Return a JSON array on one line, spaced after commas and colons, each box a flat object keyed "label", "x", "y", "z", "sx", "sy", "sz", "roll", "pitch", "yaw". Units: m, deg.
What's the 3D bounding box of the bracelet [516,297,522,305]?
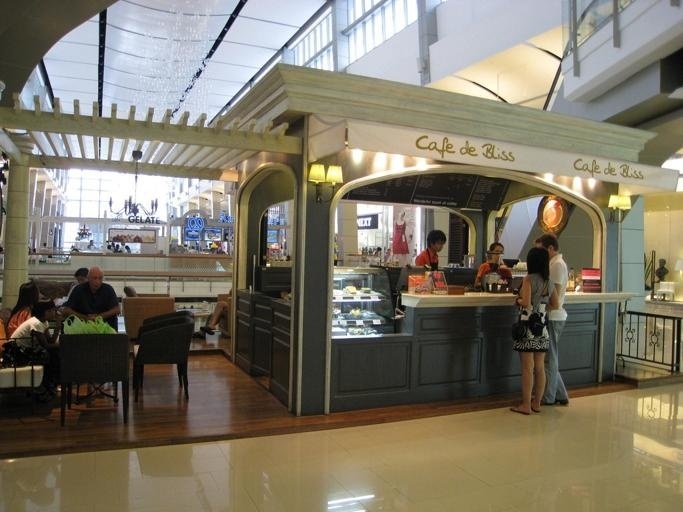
[{"label": "bracelet", "x": 2.230, "y": 0.564, "z": 6.734, "sx": 0.124, "sy": 0.065, "sz": 0.177, "roll": 3, "pitch": 5, "yaw": 10}]

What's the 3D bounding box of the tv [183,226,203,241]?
[{"label": "tv", "x": -5.023, "y": -0.798, "z": 18.194, "sx": 0.679, "sy": 0.507, "sz": 0.457, "roll": 0, "pitch": 6, "yaw": -19}]

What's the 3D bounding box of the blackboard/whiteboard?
[{"label": "blackboard/whiteboard", "x": 1.773, "y": -1.230, "z": 10.125, "sx": 3.214, "sy": 0.695, "sz": 0.359, "roll": -2, "pitch": 9, "yaw": -21}]

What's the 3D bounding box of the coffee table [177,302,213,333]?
[{"label": "coffee table", "x": -2.502, "y": 1.056, "z": 9.176, "sx": 0.479, "sy": 0.360, "sz": 0.698, "roll": -1, "pitch": 5, "yaw": -8}]

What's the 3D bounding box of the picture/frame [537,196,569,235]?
[{"label": "picture/frame", "x": 3.828, "y": -0.778, "z": 9.727, "sx": 0.244, "sy": 0.664, "sz": 0.763, "roll": 0, "pitch": 9, "yaw": -9}]

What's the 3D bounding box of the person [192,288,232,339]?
[{"label": "person", "x": -2.340, "y": 1.134, "z": 10.153, "sx": 0.753, "sy": 0.852, "sz": 0.832, "roll": 3, "pitch": 9, "yaw": 8}]

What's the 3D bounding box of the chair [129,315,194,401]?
[{"label": "chair", "x": -2.353, "y": 1.357, "z": 7.302, "sx": 0.894, "sy": 1.380, "sz": 1.047, "roll": 3, "pitch": 0, "yaw": -17}]

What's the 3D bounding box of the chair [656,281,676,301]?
[{"label": "chair", "x": 7.586, "y": 0.824, "z": 12.529, "sx": 0.390, "sy": 0.435, "sz": 1.352, "roll": 7, "pitch": 11, "yaw": 32}]

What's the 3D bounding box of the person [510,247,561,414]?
[{"label": "person", "x": 2.394, "y": 0.927, "z": 6.718, "sx": 0.517, "sy": 2.050, "sz": 0.370, "roll": -3, "pitch": 10, "yaw": -29}]

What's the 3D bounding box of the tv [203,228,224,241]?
[{"label": "tv", "x": -4.369, "y": -0.594, "z": 18.209, "sx": 0.639, "sy": 0.506, "sz": 0.358, "roll": 1, "pitch": -11, "yaw": -15}]

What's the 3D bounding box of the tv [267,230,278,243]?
[{"label": "tv", "x": -2.178, "y": -0.640, "z": 17.128, "sx": 0.468, "sy": 0.512, "sz": 0.296, "roll": 1, "pitch": 2, "yaw": -9}]

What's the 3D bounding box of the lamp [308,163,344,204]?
[{"label": "lamp", "x": -0.214, "y": -0.855, "z": 6.490, "sx": 0.439, "sy": 0.472, "sz": 0.268, "roll": 2, "pitch": -1, "yaw": -28}]

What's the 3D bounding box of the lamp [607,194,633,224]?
[{"label": "lamp", "x": 4.247, "y": -0.745, "z": 8.339, "sx": 0.383, "sy": 0.534, "sz": 0.399, "roll": -1, "pitch": 4, "yaw": 0}]
